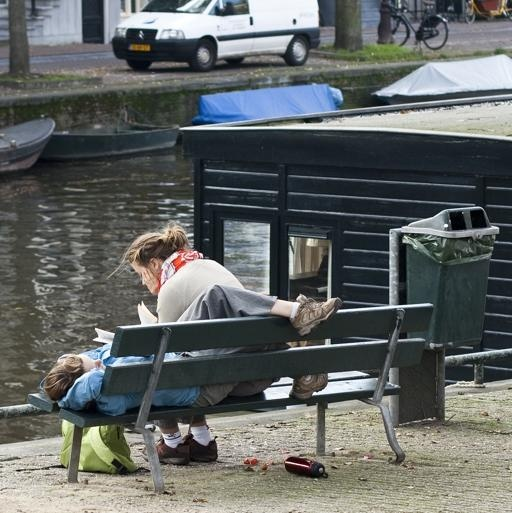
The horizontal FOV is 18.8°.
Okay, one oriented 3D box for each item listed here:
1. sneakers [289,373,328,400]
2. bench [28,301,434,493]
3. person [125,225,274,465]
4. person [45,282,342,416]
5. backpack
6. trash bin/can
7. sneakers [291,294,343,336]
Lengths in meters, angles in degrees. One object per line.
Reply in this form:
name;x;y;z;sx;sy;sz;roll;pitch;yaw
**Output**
sneakers;0.324;0.814;9.703;0.179;0.123;0.069;-30;37;-25
bench;-0.065;0.912;9.886;2.755;1.052;0.891;-1;-1;-43
person;-0.393;0.576;9.812;0.908;1.515;0.654;-4;0;39
person;-0.048;0.686;9.368;1.665;0.515;0.666;-6;6;15
backpack;-1.015;1.215;9.802;0.384;0.349;0.375;-2;5;-35
trash bin/can;1.306;0.128;10.571;0.516;0.909;0.663;10;11;42
sneakers;0.341;0.320;9.475;0.327;0.204;0.125;-33;3;19
